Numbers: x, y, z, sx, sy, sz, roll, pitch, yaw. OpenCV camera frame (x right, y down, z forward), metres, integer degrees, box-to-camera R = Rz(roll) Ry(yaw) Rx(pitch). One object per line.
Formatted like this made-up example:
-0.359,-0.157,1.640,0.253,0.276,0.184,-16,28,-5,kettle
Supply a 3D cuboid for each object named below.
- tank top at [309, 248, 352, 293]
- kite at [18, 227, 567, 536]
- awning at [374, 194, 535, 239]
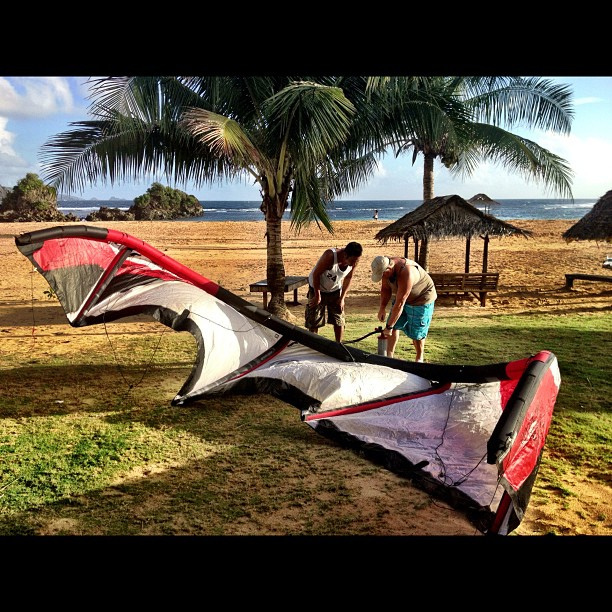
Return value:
0.319,-0.392,6.683,0.420,0.493,0.327,16,10,-15,tank top
-0.445,0.465,4.985,4.122,1.012,2.765,17,26,5,kite
3.208,-2.075,12.515,3.589,0.888,3.205,-4,12,-4,awning
